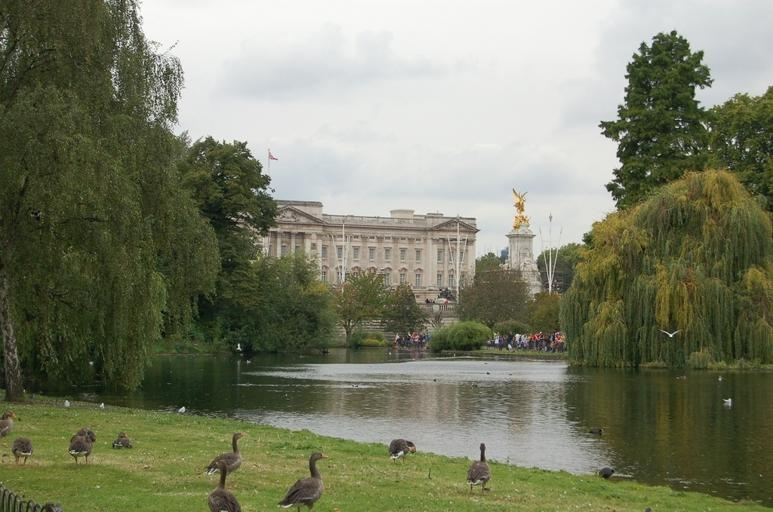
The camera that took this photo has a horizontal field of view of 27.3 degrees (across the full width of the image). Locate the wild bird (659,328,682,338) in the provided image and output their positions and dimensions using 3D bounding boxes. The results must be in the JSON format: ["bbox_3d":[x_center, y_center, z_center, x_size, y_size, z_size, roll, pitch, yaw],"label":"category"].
[{"bbox_3d":[15.341,4.296,85.507,1.122,0.500,0.392,0,-8,7],"label":"wild bird"}]

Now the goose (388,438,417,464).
[{"bbox_3d":[0.567,7.567,60.914,0.779,0.819,1.192,-3,-10,28],"label":"goose"}]

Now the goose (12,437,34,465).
[{"bbox_3d":[-13.299,7.168,58.082,0.583,0.822,1.254,1,2,-21],"label":"goose"}]

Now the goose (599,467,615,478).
[{"bbox_3d":[8.519,8.443,60.835,0.811,0.444,0.585,5,-9,-25],"label":"goose"}]

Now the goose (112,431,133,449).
[{"bbox_3d":[-10.117,7.137,60.474,0.515,0.476,0.769,3,10,-12],"label":"goose"}]
